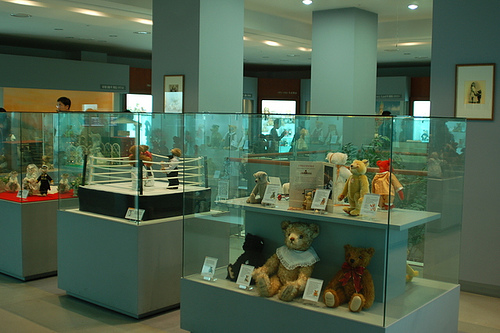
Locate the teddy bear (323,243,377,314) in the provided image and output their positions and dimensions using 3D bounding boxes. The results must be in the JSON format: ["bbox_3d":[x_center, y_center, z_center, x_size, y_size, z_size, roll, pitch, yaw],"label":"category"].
[{"bbox_3d":[0.737,0.797,2.762,0.370,0.429,0.332,0,-3,45],"label":"teddy bear"}]

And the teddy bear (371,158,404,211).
[{"bbox_3d":[1.001,0.117,2.775,0.209,0.400,0.357,5,9,26],"label":"teddy bear"}]

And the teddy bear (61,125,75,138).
[{"bbox_3d":[-2.026,-0.397,4.223,0.206,0.134,0.043,7,10,35],"label":"teddy bear"}]

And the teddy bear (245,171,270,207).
[{"bbox_3d":[0.060,0.173,3.121,0.206,0.258,0.175,-5,11,10],"label":"teddy bear"}]

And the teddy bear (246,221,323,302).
[{"bbox_3d":[0.307,0.729,2.985,0.434,0.550,0.508,8,6,36],"label":"teddy bear"}]

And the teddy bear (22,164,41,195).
[{"bbox_3d":[-2.798,0.161,4.862,0.206,0.385,0.084,-5,10,-34],"label":"teddy bear"}]

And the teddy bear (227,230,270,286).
[{"bbox_3d":[0.011,0.736,3.176,0.418,0.419,0.358,4,-5,25],"label":"teddy bear"}]

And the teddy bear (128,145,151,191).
[{"bbox_3d":[-1.095,0.002,3.851,0.259,0.488,0.202,3,15,8],"label":"teddy bear"}]

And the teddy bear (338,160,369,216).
[{"bbox_3d":[0.757,0.150,2.793,0.207,0.403,0.090,4,8,19],"label":"teddy bear"}]

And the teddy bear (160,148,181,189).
[{"bbox_3d":[-0.779,0.016,3.842,0.228,0.432,0.119,3,8,18],"label":"teddy bear"}]
